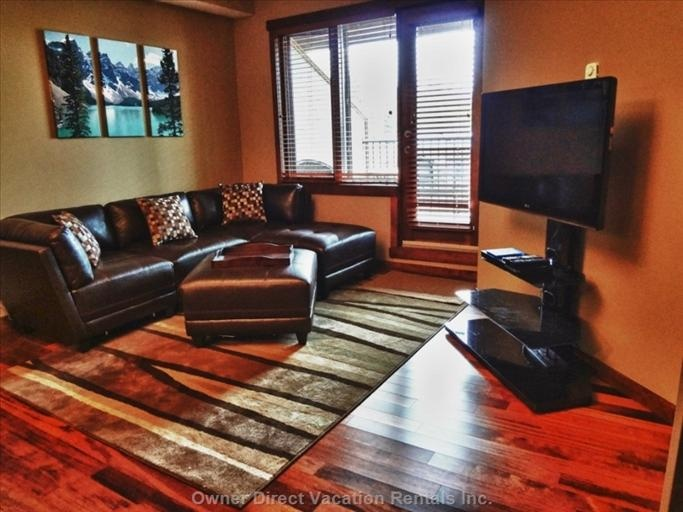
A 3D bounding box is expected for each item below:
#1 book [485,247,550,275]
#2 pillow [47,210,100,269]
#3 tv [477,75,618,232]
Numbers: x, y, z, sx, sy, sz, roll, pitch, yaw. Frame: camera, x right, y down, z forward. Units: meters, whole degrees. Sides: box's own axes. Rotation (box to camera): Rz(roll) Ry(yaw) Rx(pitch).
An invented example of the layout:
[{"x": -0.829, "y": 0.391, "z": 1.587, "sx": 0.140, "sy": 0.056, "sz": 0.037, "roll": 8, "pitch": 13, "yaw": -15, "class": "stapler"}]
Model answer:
[{"x": 1.071, "y": 0.025, "z": 3.143, "sx": 0.189, "sy": 0.054, "sz": 0.240, "roll": -6, "pitch": 13, "yaw": -22, "class": "book"}, {"x": -1.952, "y": -0.142, "z": 3.769, "sx": 0.142, "sy": 0.420, "sz": 0.443, "roll": -27, "pitch": 47, "yaw": -8, "class": "pillow"}, {"x": 1.203, "y": -0.601, "z": 2.908, "sx": 0.120, "sy": 0.739, "sz": 1.098, "roll": -8, "pitch": 14, "yaw": -19, "class": "tv"}]
